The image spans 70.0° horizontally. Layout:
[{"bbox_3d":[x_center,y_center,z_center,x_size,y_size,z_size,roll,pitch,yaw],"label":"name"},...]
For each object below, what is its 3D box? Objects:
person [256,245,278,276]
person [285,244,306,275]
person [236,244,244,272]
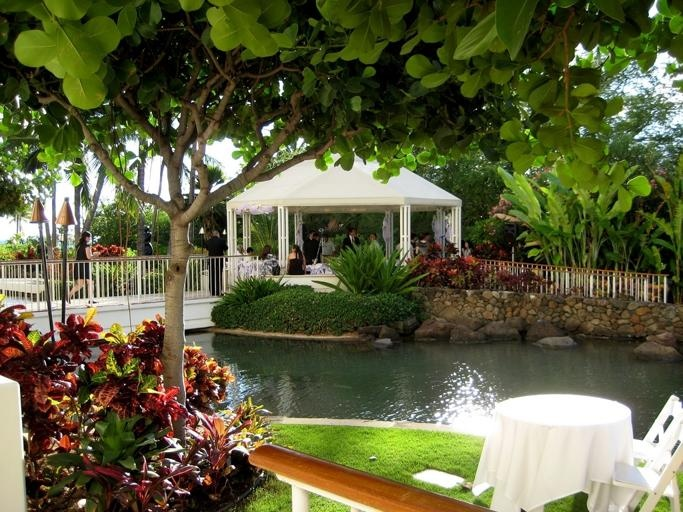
[{"bbox_3d":[-2.415,0.133,16.363,0.657,1.001,0.707,0,0,-11],"label":"person"},{"bbox_3d":[-1.497,0.102,16.253,0.608,0.972,0.564,0,0,-8],"label":"person"},{"bbox_3d":[-3.490,0.059,16.832,0.333,0.896,1.169,0,0,-12],"label":"person"}]
